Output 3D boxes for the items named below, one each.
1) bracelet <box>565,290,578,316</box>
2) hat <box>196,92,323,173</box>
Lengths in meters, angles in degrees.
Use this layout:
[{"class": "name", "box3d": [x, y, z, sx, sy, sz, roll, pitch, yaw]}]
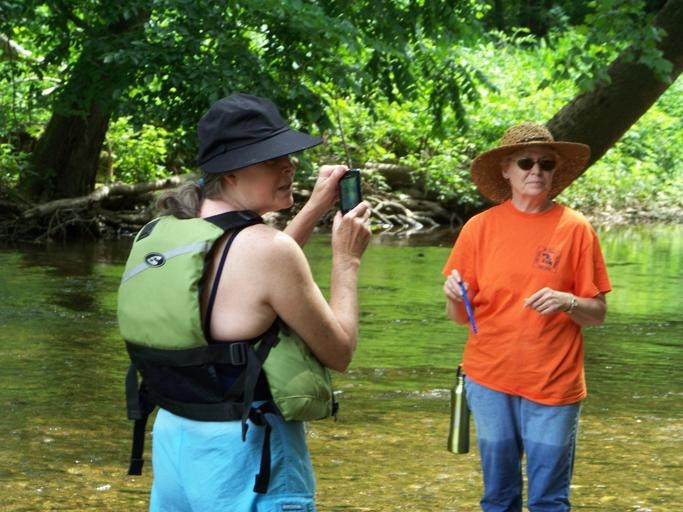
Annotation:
[{"class": "bracelet", "box3d": [1.372, 0.292, 5.399, 0.051, 0.085, 0.092, 16, 3, 8]}, {"class": "hat", "box3d": [-0.456, -0.590, 4.374, 0.559, 0.200, 0.509, -4, 13, 34]}]
